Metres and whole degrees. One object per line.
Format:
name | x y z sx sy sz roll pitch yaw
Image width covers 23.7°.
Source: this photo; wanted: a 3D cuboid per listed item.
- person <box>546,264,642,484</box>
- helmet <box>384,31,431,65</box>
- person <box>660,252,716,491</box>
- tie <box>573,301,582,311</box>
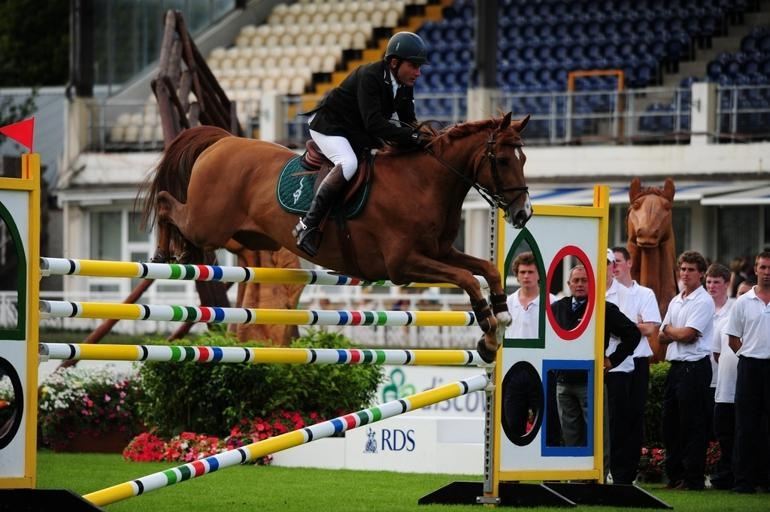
person | 2.991 1.681 26.204 1.232 3.113 0.820 1 -3 -2
helmet | 0.321 -2.901 25.186 0.666 0.410 0.524 17 26 25
person | 4.378 1.661 26.773 0.762 3.453 0.367 0 -3 9
tie | 2.725 0.713 26.112 0.121 0.111 0.029 -10 -12 37
